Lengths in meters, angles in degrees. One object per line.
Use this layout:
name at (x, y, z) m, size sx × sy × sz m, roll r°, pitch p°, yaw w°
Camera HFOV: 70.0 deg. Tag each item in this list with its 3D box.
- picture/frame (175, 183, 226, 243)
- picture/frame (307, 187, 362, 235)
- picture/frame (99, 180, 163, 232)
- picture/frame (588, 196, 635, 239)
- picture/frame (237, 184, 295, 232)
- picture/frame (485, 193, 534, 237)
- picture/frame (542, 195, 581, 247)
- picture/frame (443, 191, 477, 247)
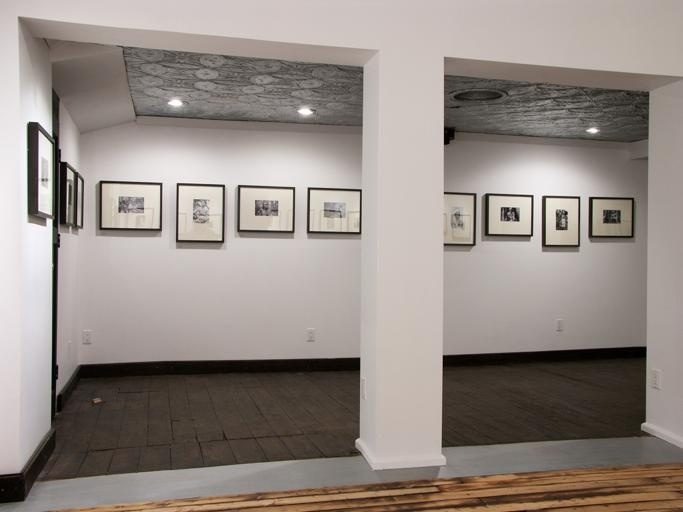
picture/frame at (-1.798, -0.529, 6.104) m, size 0.787 × 0.913 × 0.037 m, roll -1°, pitch 1°, yaw -10°
picture/frame at (-0.135, -0.597, 6.419) m, size 0.718 × 0.553 × 0.036 m, roll -1°, pitch 1°, yaw -8°
picture/frame at (-2.610, -0.610, 5.953) m, size 0.674 × 0.537 × 0.044 m, roll 0°, pitch 3°, yaw -11°
picture/frame at (3.958, -0.573, 7.232) m, size 0.674 × 0.560 × 0.064 m, roll -1°, pitch 0°, yaw -10°
picture/frame at (-1.011, -0.609, 6.250) m, size 0.645 × 0.497 × 0.061 m, roll 1°, pitch -6°, yaw -13°
picture/frame at (2.331, -0.576, 6.902) m, size 0.660 × 0.527 × 0.047 m, roll 1°, pitch -4°, yaw -10°
picture/frame at (3.145, -0.497, 7.061) m, size 0.768 × 0.960 × 0.103 m, roll 1°, pitch -5°, yaw -13°
picture/frame at (1.646, -0.512, 6.770) m, size 0.532 × 0.757 × 0.113 m, roll -1°, pitch 4°, yaw -14°
